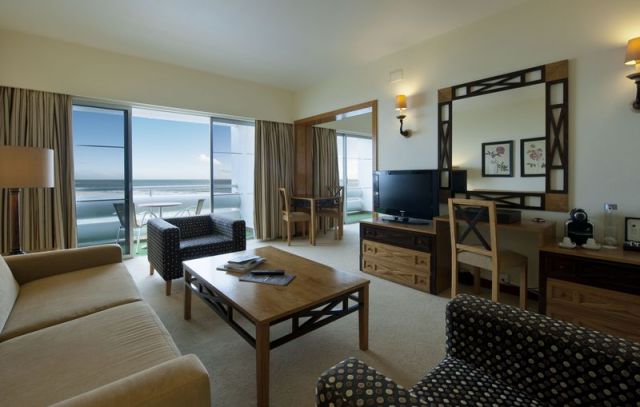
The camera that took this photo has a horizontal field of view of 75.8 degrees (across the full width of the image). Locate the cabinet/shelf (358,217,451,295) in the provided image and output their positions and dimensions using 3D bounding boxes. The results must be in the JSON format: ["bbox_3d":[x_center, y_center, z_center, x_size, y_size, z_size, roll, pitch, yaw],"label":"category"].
[{"bbox_3d":[1.166,0.647,5.625,1.222,0.803,0.693,8,15,40],"label":"cabinet/shelf"}]

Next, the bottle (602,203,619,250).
[{"bbox_3d":[3.097,0.230,4.390,0.133,0.442,0.280,2,7,35],"label":"bottle"}]

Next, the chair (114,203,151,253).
[{"bbox_3d":[-2.908,0.348,6.485,0.544,0.709,0.589,2,3,-3],"label":"chair"}]

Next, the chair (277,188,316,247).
[{"bbox_3d":[-0.441,0.225,7.629,0.755,0.957,0.745,3,3,38],"label":"chair"}]

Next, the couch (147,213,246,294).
[{"bbox_3d":[-1.641,0.512,5.375,1.098,0.830,1.053,0,1,-40],"label":"couch"}]

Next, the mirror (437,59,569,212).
[{"bbox_3d":[2.280,-0.828,4.983,2.042,2.081,0.055,1,0,44],"label":"mirror"}]

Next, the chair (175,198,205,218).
[{"bbox_3d":[-2.536,0.079,8.020,0.398,0.541,0.313,4,3,-5],"label":"chair"}]

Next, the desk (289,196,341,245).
[{"bbox_3d":[-0.034,0.300,7.763,0.891,0.832,0.882,-2,5,-30],"label":"desk"}]

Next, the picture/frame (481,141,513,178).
[{"bbox_3d":[2.194,-0.546,5.056,0.450,0.552,0.062,4,6,40],"label":"picture/frame"}]

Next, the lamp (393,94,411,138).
[{"bbox_3d":[1.142,-1.223,5.816,0.257,0.592,0.254,2,7,35],"label":"lamp"}]

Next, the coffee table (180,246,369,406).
[{"bbox_3d":[-0.336,0.915,4.111,1.256,0.696,1.802,0,3,-37],"label":"coffee table"}]

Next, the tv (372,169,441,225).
[{"bbox_3d":[1.150,-0.092,5.636,0.217,0.705,1.029,-6,7,-40],"label":"tv"}]

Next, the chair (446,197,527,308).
[{"bbox_3d":[1.910,0.584,4.790,0.845,1.271,0.749,-2,7,-18],"label":"chair"}]

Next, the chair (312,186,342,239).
[{"bbox_3d":[0.106,0.167,7.747,0.652,0.839,0.641,-5,-1,-27],"label":"chair"}]
